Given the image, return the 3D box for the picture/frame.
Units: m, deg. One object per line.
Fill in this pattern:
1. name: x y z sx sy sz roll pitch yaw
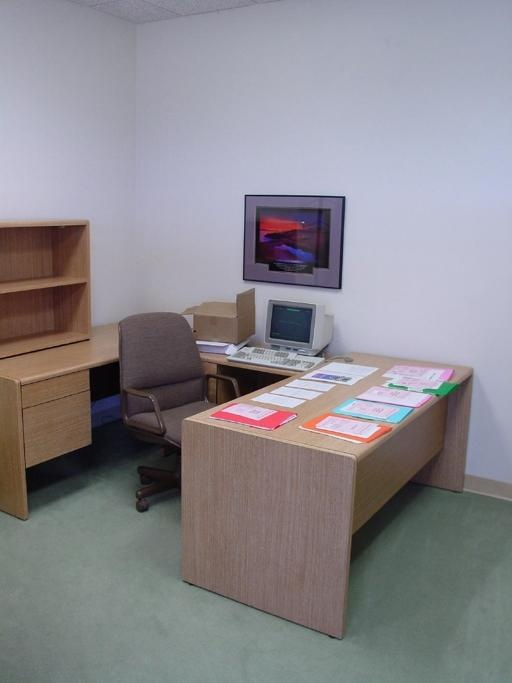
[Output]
1. picture/frame: 0.274 -0.673 3.623 0.677 0.529 0.045 7 13 26

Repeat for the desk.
1. desk: -0.140 0.586 2.499 1.472 0.578 1.452 11 17 35

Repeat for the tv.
1. tv: 0.312 -0.081 3.567 0.399 0.329 0.360 6 4 34

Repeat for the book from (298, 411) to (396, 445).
1. book: 0.340 0.327 2.078 0.303 0.013 0.271 8 10 37

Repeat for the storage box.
1. storage box: -0.262 -0.181 3.672 0.466 0.280 0.351 9 20 28
